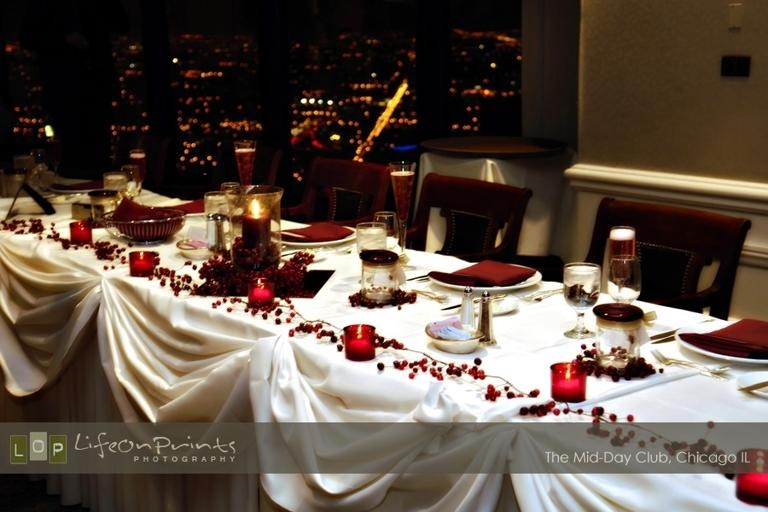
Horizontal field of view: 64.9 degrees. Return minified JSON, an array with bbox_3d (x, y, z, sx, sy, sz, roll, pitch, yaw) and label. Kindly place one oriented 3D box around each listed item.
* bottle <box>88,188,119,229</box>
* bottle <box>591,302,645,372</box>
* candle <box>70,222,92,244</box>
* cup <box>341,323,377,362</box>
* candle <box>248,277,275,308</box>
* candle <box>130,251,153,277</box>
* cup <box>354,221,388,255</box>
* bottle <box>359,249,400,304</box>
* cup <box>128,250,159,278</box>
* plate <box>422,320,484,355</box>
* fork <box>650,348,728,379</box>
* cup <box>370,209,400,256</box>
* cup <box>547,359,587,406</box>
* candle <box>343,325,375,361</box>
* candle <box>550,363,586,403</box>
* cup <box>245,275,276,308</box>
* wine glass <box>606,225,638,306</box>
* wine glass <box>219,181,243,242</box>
[{"bbox_3d":[-1.328,-0.228,2.955,0.187,0.208,0.160,-4,14,-33],"label":"bottle"},{"bbox_3d":[0.573,0.191,1.503,0.137,0.189,0.142,-2,5,0],"label":"bottle"},{"bbox_3d":[-1.303,-0.096,2.593,0.065,0.065,0.067,-7,-31,21],"label":"candle"},{"bbox_3d":[-0.064,0.233,1.625,0.083,0.086,0.082,1,9,0],"label":"cup"},{"bbox_3d":[-0.385,0.119,1.951,0.082,0.078,0.081,1,1,-40],"label":"candle"},{"bbox_3d":[-0.892,0.029,2.225,0.089,0.080,0.082,6,0,-38],"label":"candle"},{"bbox_3d":[-0.048,-0.060,2.175,0.104,0.116,0.108,0,3,0],"label":"cup"},{"bbox_3d":[-0.007,0.086,1.984,0.138,0.163,0.142,4,8,25],"label":"bottle"},{"bbox_3d":[-0.892,0.031,2.277,0.099,0.087,0.110,4,-1,18],"label":"cup"},{"bbox_3d":[0.188,0.216,1.634,0.153,0.085,0.081,6,4,11],"label":"plate"},{"bbox_3d":[0.779,0.273,1.527,0.034,0.037,0.239,-1,7,-34],"label":"fork"},{"bbox_3d":[0.030,-0.086,2.289,0.103,0.155,0.107,0,-9,0],"label":"cup"},{"bbox_3d":[0.432,0.296,1.404,0.070,0.082,0.073,-4,6,0],"label":"cup"},{"bbox_3d":[-0.063,0.232,1.640,0.086,0.087,0.081,0,5,-12],"label":"candle"},{"bbox_3d":[0.424,0.290,1.426,0.083,0.093,0.082,0,-2,-38],"label":"candle"},{"bbox_3d":[-0.384,0.114,1.903,0.083,0.085,0.086,1,1,0],"label":"cup"},{"bbox_3d":[0.688,0.070,1.716,0.087,0.311,0.087,-4,17,11],"label":"wine glass"},{"bbox_3d":[-0.562,-0.160,2.279,0.122,0.212,0.126,1,4,-39],"label":"wine glass"}]
